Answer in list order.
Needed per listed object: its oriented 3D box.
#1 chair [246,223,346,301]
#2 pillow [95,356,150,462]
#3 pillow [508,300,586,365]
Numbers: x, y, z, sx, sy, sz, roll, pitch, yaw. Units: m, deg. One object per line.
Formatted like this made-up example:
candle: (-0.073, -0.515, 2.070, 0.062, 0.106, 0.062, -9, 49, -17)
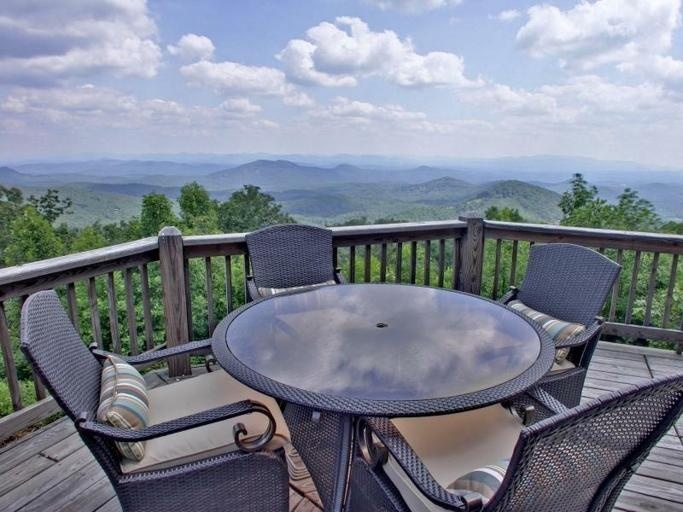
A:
chair: (-0.387, 0.006, 3.396, 0.594, 0.867, 0.620, -9, 15, -17)
pillow: (-0.846, 0.593, 1.688, 0.151, 0.157, 0.428, -8, 23, -26)
pillow: (1.137, 0.392, 2.384, 0.336, 0.094, 0.321, -14, 22, -16)
